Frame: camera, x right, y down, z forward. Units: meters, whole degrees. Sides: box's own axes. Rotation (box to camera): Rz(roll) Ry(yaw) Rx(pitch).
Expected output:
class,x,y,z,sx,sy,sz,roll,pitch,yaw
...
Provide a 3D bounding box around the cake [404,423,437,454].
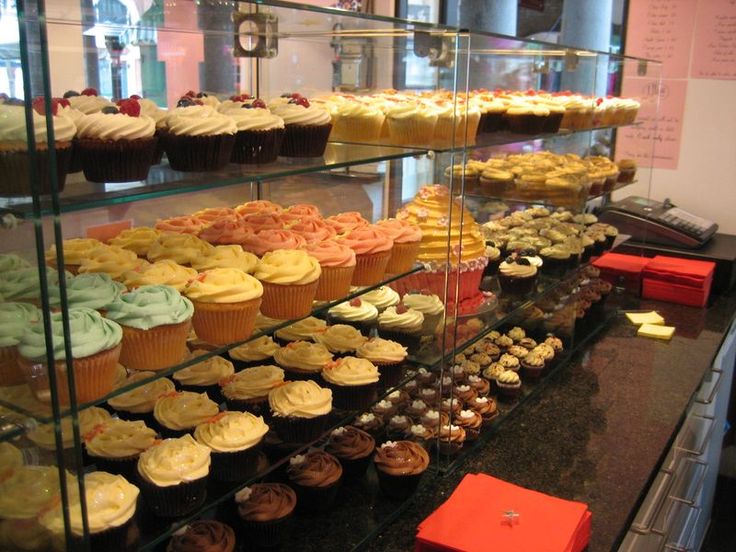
class,x,y,z,sx,sy,sz,roll,pitch,yaw
cake,0.170,0.509,1.830,0.137,0.057,0.111,0,0,-1

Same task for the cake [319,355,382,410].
class,x,y,z,sx,sy,sz,roll,pitch,yaw
cake,-0.053,0.301,1.655,0.189,0.101,0.169,0,6,-3

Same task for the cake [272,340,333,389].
class,x,y,z,sx,sy,sz,roll,pitch,yaw
cake,-0.184,0.244,1.577,0.151,0.074,0.132,-2,10,-40

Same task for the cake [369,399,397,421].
class,x,y,z,sx,sy,sz,roll,pitch,yaw
cake,0.043,0.417,1.777,0.098,0.046,0.078,1,14,5

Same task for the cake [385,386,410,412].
class,x,y,z,sx,sy,sz,roll,pitch,yaw
cake,0.097,0.387,1.792,0.096,0.073,0.028,-12,42,8

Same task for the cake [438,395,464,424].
class,x,y,z,sx,sy,sz,roll,pitch,yaw
cake,0.275,0.444,1.903,0.107,0.034,0.089,-1,27,-3

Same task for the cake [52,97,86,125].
class,x,y,z,sx,sy,sz,roll,pitch,yaw
cake,-0.534,-0.291,1.010,0.078,0.022,0.071,0,25,-35

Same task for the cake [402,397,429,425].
class,x,y,z,sx,sy,sz,roll,pitch,yaw
cake,0.153,0.431,1.822,0.094,0.069,0.087,6,9,22

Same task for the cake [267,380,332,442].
class,x,y,z,sx,sy,sz,roll,pitch,yaw
cake,-0.180,0.351,1.479,0.135,0.136,0.189,13,24,25

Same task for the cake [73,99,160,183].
class,x,y,z,sx,sy,sz,roll,pitch,yaw
cake,-0.433,-0.262,1.136,0.204,0.149,0.174,0,3,-5

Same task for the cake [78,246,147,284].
class,x,y,z,sx,sy,sz,roll,pitch,yaw
cake,-0.539,-0.031,1.212,0.120,0.032,0.098,6,16,0

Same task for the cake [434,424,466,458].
class,x,y,z,sx,sy,sz,roll,pitch,yaw
cake,0.265,0.537,1.879,0.135,0.065,0.118,0,3,0

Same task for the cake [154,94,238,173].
class,x,y,z,sx,sy,sz,roll,pitch,yaw
cake,-0.324,-0.292,1.179,0.199,0.120,0.168,-1,13,-6

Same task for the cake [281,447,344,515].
class,x,y,z,sx,sy,sz,roll,pitch,yaw
cake,-0.151,0.575,1.636,0.149,0.201,0.137,2,24,1

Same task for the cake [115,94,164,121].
class,x,y,z,sx,sy,sz,roll,pitch,yaw
cake,-0.475,-0.348,1.174,0.130,0.030,0.104,8,12,1

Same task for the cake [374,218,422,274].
class,x,y,z,sx,sy,sz,roll,pitch,yaw
cake,0.100,-0.083,1.688,0.196,0.155,0.176,2,9,2

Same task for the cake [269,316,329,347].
class,x,y,z,sx,sy,sz,roll,pitch,yaw
cake,-0.192,0.158,1.680,0.113,0.032,0.116,0,7,26

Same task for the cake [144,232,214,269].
class,x,y,z,sx,sy,sz,roll,pitch,yaw
cake,-0.444,-0.064,1.325,0.116,0.025,0.100,9,17,19

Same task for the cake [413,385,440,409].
class,x,y,z,sx,sy,sz,roll,pitch,yaw
cake,0.190,0.392,1.842,0.087,0.028,0.064,6,42,-16

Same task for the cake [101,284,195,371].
class,x,y,z,sx,sy,sz,roll,pitch,yaw
cake,-0.408,0.101,1.148,0.190,0.126,0.178,0,10,-8

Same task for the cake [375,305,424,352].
class,x,y,z,sx,sy,sz,roll,pitch,yaw
cake,0.100,0.161,1.795,0.192,0.112,0.153,1,4,0

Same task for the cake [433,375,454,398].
class,x,y,z,sx,sy,sz,roll,pitch,yaw
cake,0.249,0.358,1.862,0.077,0.071,0.032,4,5,-29

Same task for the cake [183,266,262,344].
class,x,y,z,sx,sy,sz,roll,pitch,yaw
cake,-0.324,0.060,1.280,0.200,0.127,0.175,-2,12,-16

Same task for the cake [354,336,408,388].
class,x,y,z,sx,sy,sz,roll,pitch,yaw
cake,0.050,0.251,1.717,0.193,0.113,0.154,0,12,-5

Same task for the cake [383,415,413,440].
class,x,y,z,sx,sy,sz,roll,pitch,yaw
cake,0.103,0.476,1.796,0.100,0.047,0.080,1,24,2

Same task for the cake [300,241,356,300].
class,x,y,z,sx,sy,sz,roll,pitch,yaw
cake,-0.090,-0.023,1.563,0.199,0.150,0.161,-5,17,-23

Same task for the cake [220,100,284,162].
class,x,y,z,sx,sy,sz,roll,pitch,yaw
cake,-0.268,-0.334,1.328,0.205,0.116,0.157,-3,15,-18

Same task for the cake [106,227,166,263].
class,x,y,z,sx,sy,sz,roll,pitch,yaw
cake,-0.551,-0.085,1.360,0.123,0.027,0.100,7,18,7

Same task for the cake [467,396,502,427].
class,x,y,z,sx,sy,sz,roll,pitch,yaw
cake,0.410,0.476,2.051,0.146,0.067,0.117,-1,7,-4

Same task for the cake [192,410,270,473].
class,x,y,z,sx,sy,sz,roll,pitch,yaw
cake,-0.300,0.365,1.305,0.162,0.089,0.154,2,3,13

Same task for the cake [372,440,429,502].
class,x,y,z,sx,sy,sz,roll,pitch,yaw
cake,0.106,0.585,1.729,0.209,0.113,0.173,1,9,4

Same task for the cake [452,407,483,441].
class,x,y,z,sx,sy,sz,roll,pitch,yaw
cake,0.339,0.500,1.953,0.142,0.081,0.117,0,4,-1

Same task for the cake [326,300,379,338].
class,x,y,z,sx,sy,sz,roll,pitch,yaw
cake,-0.048,0.119,1.721,0.165,0.066,0.133,1,7,0

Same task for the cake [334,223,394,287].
class,x,y,z,sx,sy,sz,roll,pitch,yaw
cake,0.000,-0.053,1.551,0.207,0.164,0.184,0,11,-1

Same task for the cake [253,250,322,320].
class,x,y,z,sx,sy,sz,roll,pitch,yaw
cake,-0.191,0.019,1.397,0.133,0.156,0.160,9,24,15
